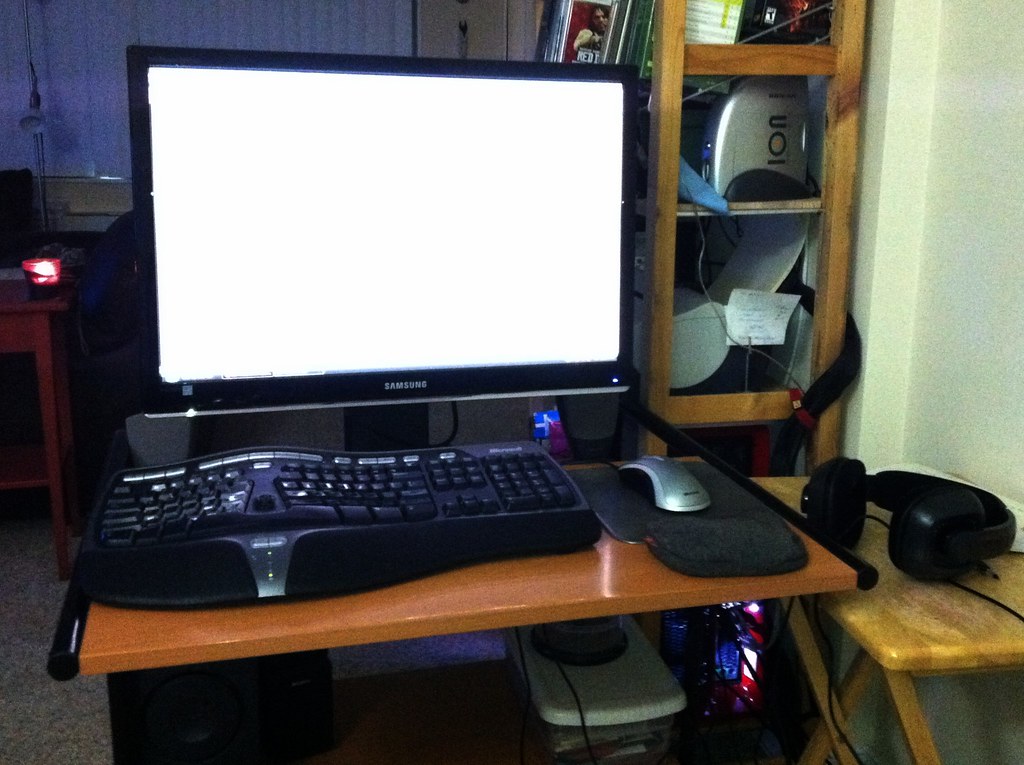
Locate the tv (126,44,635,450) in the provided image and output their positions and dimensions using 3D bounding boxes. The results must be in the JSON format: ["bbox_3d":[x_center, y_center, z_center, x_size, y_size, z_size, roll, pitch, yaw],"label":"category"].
[{"bbox_3d":[-0.176,-0.195,1.224,0.655,0.465,0.048,0,9,-9],"label":"tv"}]

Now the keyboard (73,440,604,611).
[{"bbox_3d":[-0.233,0.168,1.098,0.512,0.110,0.255,-5,23,-9],"label":"keyboard"}]

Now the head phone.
[{"bbox_3d":[0.565,0.139,1.209,0.242,0.097,0.196,-2,14,-42],"label":"head phone"}]
